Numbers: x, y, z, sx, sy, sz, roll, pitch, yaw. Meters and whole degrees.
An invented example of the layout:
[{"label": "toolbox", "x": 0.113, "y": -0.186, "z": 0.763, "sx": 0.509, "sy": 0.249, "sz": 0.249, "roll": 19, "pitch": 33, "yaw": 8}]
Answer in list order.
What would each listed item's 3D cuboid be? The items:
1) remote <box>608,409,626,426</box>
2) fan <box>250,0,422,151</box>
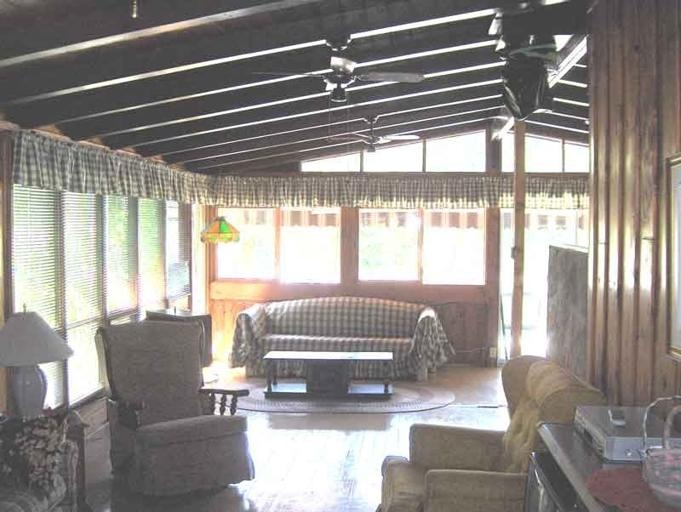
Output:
[{"label": "remote", "x": 1.484, "y": 0.866, "z": 3.615, "sx": 0.051, "sy": 0.020, "sz": 0.105, "roll": -1, "pitch": 9, "yaw": 10}, {"label": "fan", "x": 0.087, "y": -1.566, "z": 6.005, "sx": 0.933, "sy": 0.751, "sz": 0.956, "roll": -2, "pitch": -4, "yaw": 39}]
